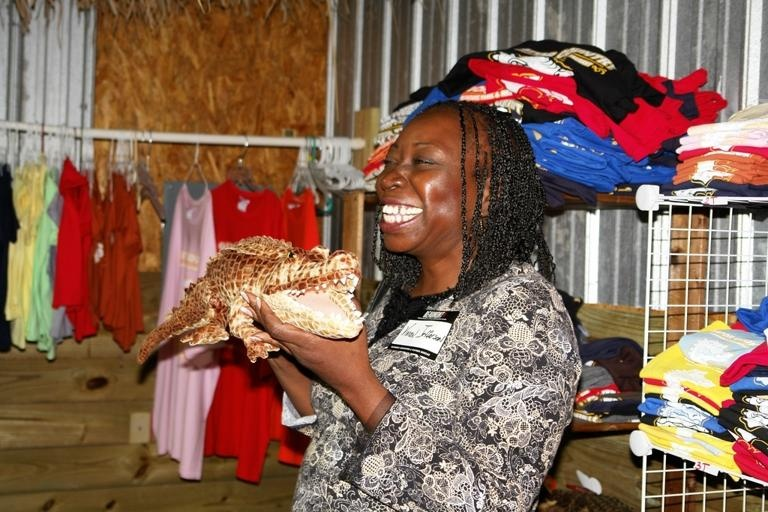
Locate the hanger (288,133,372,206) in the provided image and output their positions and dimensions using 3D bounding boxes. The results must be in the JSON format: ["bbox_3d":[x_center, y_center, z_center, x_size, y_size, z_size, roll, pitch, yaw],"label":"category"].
[{"bbox_3d":[-0.275,-0.437,4.720,0.252,0.369,0.161,3,10,8],"label":"hanger"}]

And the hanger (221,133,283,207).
[{"bbox_3d":[-0.701,-0.441,4.994,0.371,0.419,0.033,7,24,12],"label":"hanger"}]
